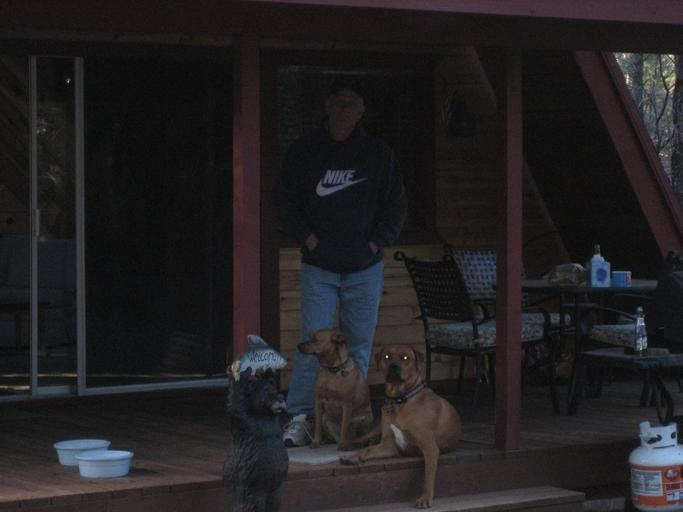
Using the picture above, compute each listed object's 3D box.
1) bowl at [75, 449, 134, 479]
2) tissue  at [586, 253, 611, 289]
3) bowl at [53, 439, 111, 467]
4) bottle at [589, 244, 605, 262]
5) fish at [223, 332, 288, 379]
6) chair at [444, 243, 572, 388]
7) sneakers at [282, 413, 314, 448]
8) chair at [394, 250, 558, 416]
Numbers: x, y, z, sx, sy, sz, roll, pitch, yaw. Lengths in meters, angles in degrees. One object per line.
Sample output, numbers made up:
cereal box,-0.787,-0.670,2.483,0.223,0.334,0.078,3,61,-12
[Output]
bowl,-1.450,1.282,5.749,0.213,0.087,0.200,-3,-1,0
tissue ,2.121,0.122,7.613,0.152,0.247,0.082,-3,6,-2
bowl,-1.663,1.243,5.980,0.235,0.093,0.206,10,-7,-39
bottle,2.377,-0.042,8.639,0.157,0.191,0.157,-5,7,-39
fish,-0.483,0.573,5.305,0.309,0.258,0.321,-1,-6,-8
chair,1.218,0.573,8.358,0.753,1.322,0.943,-13,-2,38
sneakers,-0.300,1.220,6.521,0.143,0.210,0.444,-1,-1,17
chair,1.109,0.605,7.786,0.840,1.501,0.997,5,-13,-39
